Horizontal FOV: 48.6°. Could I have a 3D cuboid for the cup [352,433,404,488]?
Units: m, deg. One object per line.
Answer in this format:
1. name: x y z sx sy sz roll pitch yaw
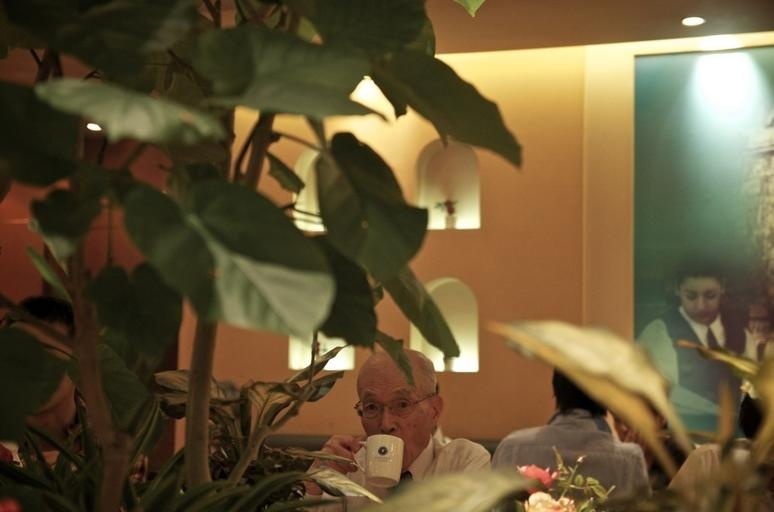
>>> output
1. cup: -0.015 0.436 1.772 0.093 0.105 0.145 12 -26 -20
